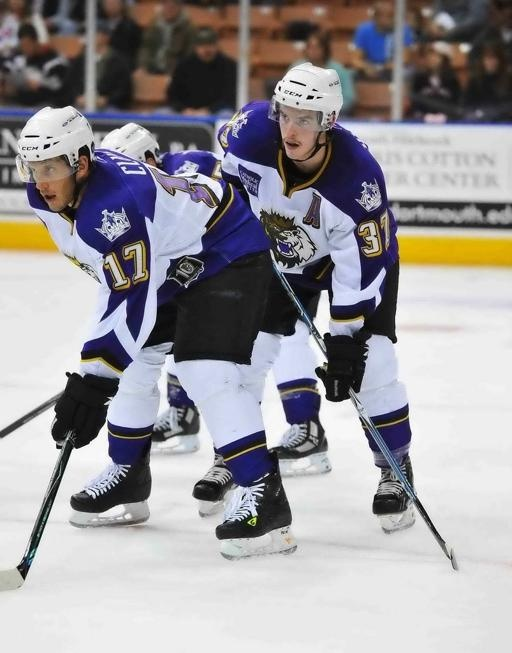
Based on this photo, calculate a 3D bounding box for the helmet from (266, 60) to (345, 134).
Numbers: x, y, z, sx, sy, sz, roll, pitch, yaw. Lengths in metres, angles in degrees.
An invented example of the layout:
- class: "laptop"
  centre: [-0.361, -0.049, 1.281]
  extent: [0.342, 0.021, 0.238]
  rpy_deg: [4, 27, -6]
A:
- class: "helmet"
  centre: [0.120, -0.569, 2.050]
  extent: [0.164, 0.171, 0.206]
  rpy_deg: [30, 37, 31]

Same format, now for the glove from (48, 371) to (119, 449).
- class: "glove"
  centre: [-0.354, 0.171, 1.648]
  extent: [0.120, 0.165, 0.052]
  rpy_deg: [16, 23, -18]

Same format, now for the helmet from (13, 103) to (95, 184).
- class: "helmet"
  centre: [-0.404, -0.372, 1.619]
  extent: [0.146, 0.162, 0.132]
  rpy_deg: [-3, 7, -26]

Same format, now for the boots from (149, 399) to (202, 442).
- class: "boots"
  centre: [-0.314, 0.333, 2.772]
  extent: [0.090, 0.142, 0.276]
  rpy_deg: [9, 5, 43]

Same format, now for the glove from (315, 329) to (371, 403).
- class: "glove"
  centre: [0.220, 0.102, 2.062]
  extent: [0.134, 0.177, 0.128]
  rpy_deg: [1, 7, 4]

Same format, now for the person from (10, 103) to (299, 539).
- class: "person"
  centre: [-0.200, 0.026, 1.821]
  extent: [0.574, 1.004, 0.562]
  rpy_deg: [3, 7, 23]

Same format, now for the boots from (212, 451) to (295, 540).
- class: "boots"
  centre: [-0.007, 0.401, 1.788]
  extent: [0.229, 0.153, 0.075]
  rpy_deg: [-3, -5, -44]
